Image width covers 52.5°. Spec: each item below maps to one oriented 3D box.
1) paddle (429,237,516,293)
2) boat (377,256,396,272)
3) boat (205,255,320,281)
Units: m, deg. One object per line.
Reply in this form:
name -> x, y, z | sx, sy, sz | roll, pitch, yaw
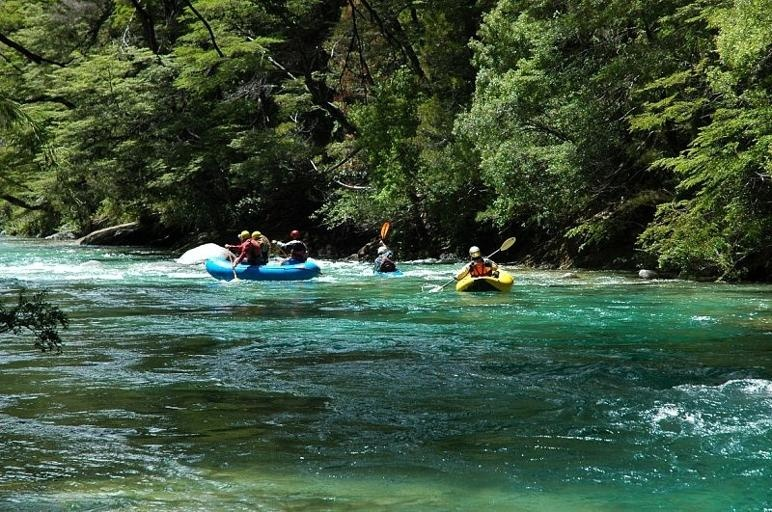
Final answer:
paddle -> 3.058, 0.304, 26.741 | 4.063, 0.230, 0.522 | -24, 30, -21
boat -> 0.042, 0.324, 27.304 | 0.598, 0.474, 0.600 | 18, 27, 36
boat -> -3.976, 0.528, 24.984 | 2.648, 0.499, 1.212 | -1, -3, 10
